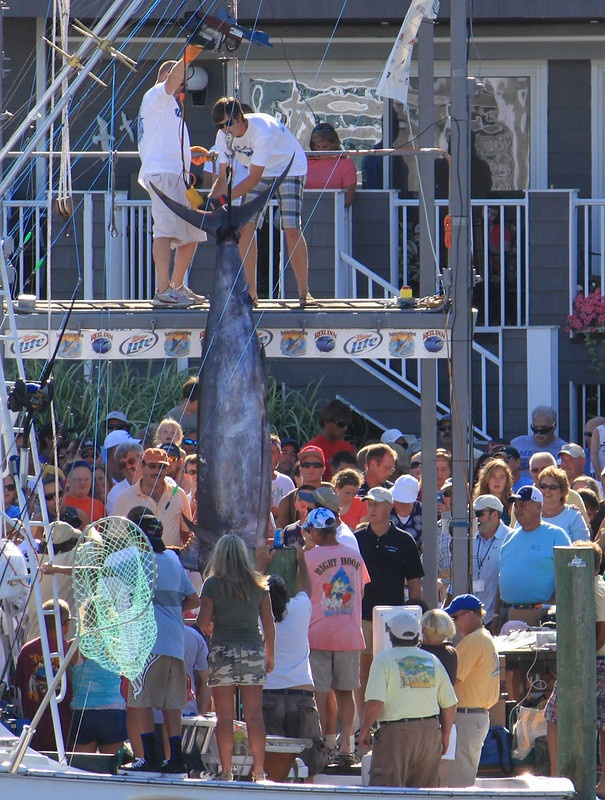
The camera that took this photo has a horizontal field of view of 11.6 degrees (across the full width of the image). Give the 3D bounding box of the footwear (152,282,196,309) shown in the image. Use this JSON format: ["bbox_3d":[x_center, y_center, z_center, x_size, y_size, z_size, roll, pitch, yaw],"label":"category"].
[{"bbox_3d":[-0.821,-0.684,18.337,0.278,0.171,0.116,0,13,-3],"label":"footwear"}]

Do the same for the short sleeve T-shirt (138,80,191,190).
[{"bbox_3d":[-0.894,-1.686,18.595,0.331,0.848,0.934,-2,0,-8],"label":"short sleeve T-shirt"}]

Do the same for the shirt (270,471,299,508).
[{"bbox_3d":[-0.139,0.535,18.936,0.165,0.230,0.117,12,-27,-5],"label":"shirt"}]

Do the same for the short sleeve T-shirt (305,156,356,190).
[{"bbox_3d":[0.162,-1.688,21.448,0.297,0.349,0.186,0,-3,0],"label":"short sleeve T-shirt"}]

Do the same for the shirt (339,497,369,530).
[{"bbox_3d":[0.300,0.669,18.569,0.160,0.190,0.097,10,1,-14],"label":"shirt"}]

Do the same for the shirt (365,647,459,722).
[{"bbox_3d":[0.611,1.555,16.437,0.481,0.457,0.269,4,-18,7],"label":"shirt"}]

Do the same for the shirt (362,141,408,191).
[{"bbox_3d":[0.613,-1.819,22.721,0.384,0.469,0.213,-5,12,-25],"label":"shirt"}]

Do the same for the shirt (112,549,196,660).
[{"bbox_3d":[-0.796,1.070,16.787,0.397,0.613,0.340,4,17,1],"label":"shirt"}]

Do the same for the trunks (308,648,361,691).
[{"bbox_3d":[0.172,1.546,17.511,0.314,0.394,0.205,0,2,-1],"label":"trunks"}]

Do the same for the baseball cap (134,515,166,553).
[{"bbox_3d":[-0.874,0.707,16.741,0.116,0.232,0.129,-20,13,15],"label":"baseball cap"}]

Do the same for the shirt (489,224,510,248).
[{"bbox_3d":[1.496,-1.303,22.845,0.142,0.191,0.044,7,2,12],"label":"shirt"}]

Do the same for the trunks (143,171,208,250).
[{"bbox_3d":[-0.843,-1.212,18.504,0.327,0.747,0.557,-4,3,6],"label":"trunks"}]

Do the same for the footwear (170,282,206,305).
[{"bbox_3d":[-0.748,-0.684,18.397,0.240,0.117,0.096,16,14,4],"label":"footwear"}]

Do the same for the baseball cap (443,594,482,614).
[{"bbox_3d":[0.909,1.128,16.983,0.153,0.101,0.117,-3,0,5],"label":"baseball cap"}]

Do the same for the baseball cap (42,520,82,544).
[{"bbox_3d":[-1.410,0.729,17.119,0.170,0.131,0.117,-8,-43,-8],"label":"baseball cap"}]

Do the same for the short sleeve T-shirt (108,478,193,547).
[{"bbox_3d":[-0.939,0.734,18.235,0.447,0.550,0.518,-3,10,3],"label":"short sleeve T-shirt"}]

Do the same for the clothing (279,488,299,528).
[{"bbox_3d":[-0.101,0.634,18.685,0.138,0.227,0.068,-4,-9,36],"label":"clothing"}]

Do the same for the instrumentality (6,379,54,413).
[{"bbox_3d":[-1.502,-0.056,16.079,0.203,0.193,0.194,1,12,-18],"label":"instrumentality"}]

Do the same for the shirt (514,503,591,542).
[{"bbox_3d":[1.656,0.735,18.591,0.287,0.270,0.173,-4,-13,15],"label":"shirt"}]

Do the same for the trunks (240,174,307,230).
[{"bbox_3d":[-0.211,-1.301,18.693,0.311,0.489,0.164,18,9,-6],"label":"trunks"}]

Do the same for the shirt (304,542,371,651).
[{"bbox_3d":[0.170,1.115,17.462,0.508,0.730,0.330,1,5,-12],"label":"shirt"}]

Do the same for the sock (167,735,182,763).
[{"bbox_3d":[-0.729,1.898,16.469,0.057,0.132,0.092,2,-2,-7],"label":"sock"}]

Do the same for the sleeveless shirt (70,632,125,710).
[{"bbox_3d":[-1.185,1.473,16.659,0.319,0.512,0.251,-1,4,-5],"label":"sleeveless shirt"}]

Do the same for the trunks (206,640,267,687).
[{"bbox_3d":[-0.382,1.436,16.416,0.292,0.261,0.202,1,1,-3],"label":"trunks"}]

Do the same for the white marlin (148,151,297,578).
[{"bbox_3d":[-0.462,-0.389,17.833,0.806,0.586,4.062,-9,-16,-3],"label":"white marlin"}]

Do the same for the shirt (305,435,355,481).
[{"bbox_3d":[0.157,0.343,19.371,0.206,0.287,0.107,6,-25,-25],"label":"shirt"}]

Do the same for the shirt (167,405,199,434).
[{"bbox_3d":[-0.813,0.089,19.601,0.137,0.156,0.072,-13,14,-42],"label":"shirt"}]

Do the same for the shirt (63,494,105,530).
[{"bbox_3d":[-1.399,0.718,18.693,0.140,0.303,0.278,-14,-13,32],"label":"shirt"}]

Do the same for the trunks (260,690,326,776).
[{"bbox_3d":[-0.081,1.926,16.979,0.357,0.589,0.289,-9,-30,6],"label":"trunks"}]

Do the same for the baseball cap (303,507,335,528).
[{"bbox_3d":[0.091,0.643,17.485,0.145,0.096,0.104,4,8,40],"label":"baseball cap"}]

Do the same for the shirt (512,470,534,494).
[{"bbox_3d":[1.478,0.525,20.070,0.113,0.113,0.205,-9,10,13],"label":"shirt"}]

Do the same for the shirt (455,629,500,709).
[{"bbox_3d":[0.980,1.498,16.871,0.212,0.504,0.390,1,4,24],"label":"shirt"}]

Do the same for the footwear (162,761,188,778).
[{"bbox_3d":[-0.728,2.004,16.405,0.151,0.074,0.062,7,-4,15],"label":"footwear"}]

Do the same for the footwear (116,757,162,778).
[{"bbox_3d":[-0.931,1.992,16.364,0.226,0.112,0.085,7,-10,-13],"label":"footwear"}]

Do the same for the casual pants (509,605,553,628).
[{"bbox_3d":[1.370,1.268,18.151,0.170,0.139,0.139,1,-1,17],"label":"casual pants"}]

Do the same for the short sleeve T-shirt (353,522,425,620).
[{"bbox_3d":[0.471,1.027,18.059,0.480,0.719,0.254,-2,-22,6],"label":"short sleeve T-shirt"}]

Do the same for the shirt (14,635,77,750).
[{"bbox_3d":[-1.467,1.592,16.614,0.330,0.895,0.123,3,38,0],"label":"shirt"}]

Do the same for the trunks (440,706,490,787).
[{"bbox_3d":[0.929,1.940,16.896,0.281,0.435,0.153,2,-2,-15],"label":"trunks"}]
